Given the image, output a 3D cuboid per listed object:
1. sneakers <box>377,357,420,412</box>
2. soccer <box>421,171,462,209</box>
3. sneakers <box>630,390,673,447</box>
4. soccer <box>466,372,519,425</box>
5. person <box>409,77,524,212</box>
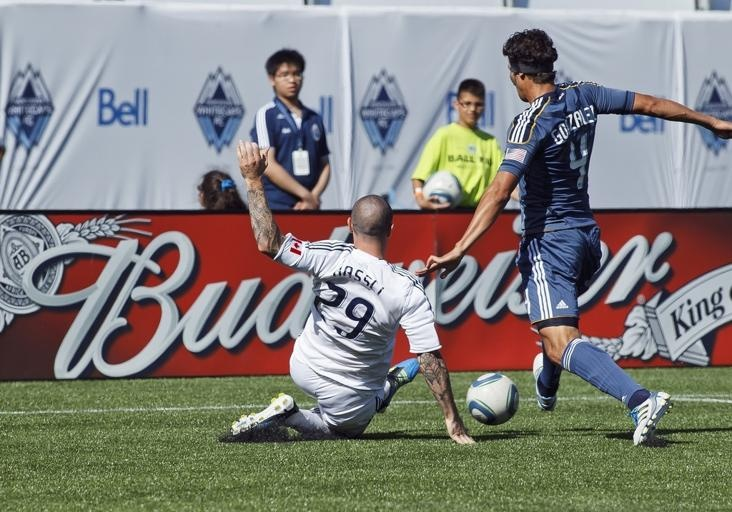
[{"bbox_3d":[0.294,1.280,14.858,0.155,0.525,0.226,31,-19,15],"label":"sneakers"},{"bbox_3d":[0.846,-0.716,17.098,0.412,0.412,0.372,11,10,14],"label":"soccer"},{"bbox_3d":[2.564,1.465,14.031,0.197,0.596,0.280,-2,43,-47],"label":"sneakers"},{"bbox_3d":[1.190,1.414,14.675,0.432,0.492,0.471,4,-20,8],"label":"soccer"},{"bbox_3d":[1.144,-1.211,17.340,1.142,1.601,1.015,3,28,2],"label":"person"}]
